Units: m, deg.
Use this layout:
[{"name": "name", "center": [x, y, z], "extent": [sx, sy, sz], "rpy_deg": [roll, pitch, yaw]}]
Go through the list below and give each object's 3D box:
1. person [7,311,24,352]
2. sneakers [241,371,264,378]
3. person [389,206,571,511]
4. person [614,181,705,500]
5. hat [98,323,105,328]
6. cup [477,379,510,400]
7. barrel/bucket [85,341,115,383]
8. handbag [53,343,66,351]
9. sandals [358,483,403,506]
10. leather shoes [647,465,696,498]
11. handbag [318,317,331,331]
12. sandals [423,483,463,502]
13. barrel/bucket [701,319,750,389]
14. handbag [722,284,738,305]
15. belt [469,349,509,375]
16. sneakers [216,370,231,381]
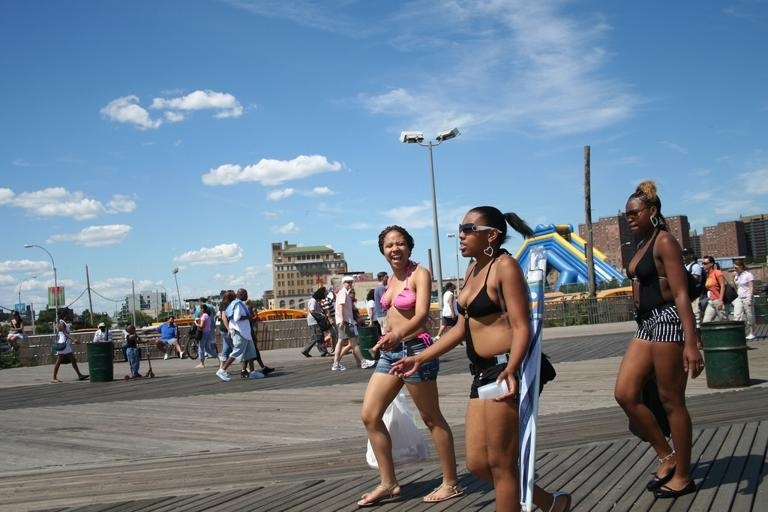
[{"name": "person", "center": [-14.794, 3.033, 21.413], "extent": [0.500, 1.575, 3.921], "rpy_deg": [-5, -3, -35]}, {"name": "sneakers", "center": [-3.606, 3.208, 14.457], "extent": [0.654, 0.274, 0.234], "rpy_deg": [-2, -4, 8]}, {"name": "person", "center": [0.798, 0.793, 3.989], "extent": [0.688, 2.042, 0.832], "rpy_deg": [-5, -3, -29]}, {"name": "person", "center": [2.346, 0.690, 4.673], "extent": [0.699, 2.910, 0.775], "rpy_deg": [-8, -3, 28]}, {"name": "hat", "center": [-9.526, 2.336, 18.042], "extent": [0.225, 0.095, 0.315], "rpy_deg": [1, -9, -23]}, {"name": "cup", "center": [0.737, 0.906, 3.611], "extent": [0.195, 0.128, 0.121], "rpy_deg": [-7, -3, 20]}, {"name": "barrel/bucket", "center": [-8.227, 3.068, 15.544], "extent": [0.605, 1.178, 0.551], "rpy_deg": [-6, -2, 0]}, {"name": "handbag", "center": [-9.923, 2.762, 16.346], "extent": [0.249, 0.245, 0.107], "rpy_deg": [-2, -13, 3]}, {"name": "sandals", "center": [-0.045, 2.220, 5.010], "extent": [0.382, 0.145, 0.166], "rpy_deg": [-9, -5, -21]}, {"name": "leather shoes", "center": [2.490, 1.958, 4.650], "extent": [0.319, 0.112, 0.230], "rpy_deg": [7, -13, -28]}, {"name": "handbag", "center": [-1.940, 2.167, 17.355], "extent": [0.546, 0.372, 0.271], "rpy_deg": [-8, -3, 36]}, {"name": "sandals", "center": [0.552, 2.187, 4.974], "extent": [0.294, 0.102, 0.159], "rpy_deg": [4, -12, -28]}, {"name": "barrel/bucket", "center": [5.655, 1.630, 8.893], "extent": [0.636, 1.252, 0.427], "rpy_deg": [-8, -3, 29]}, {"name": "handbag", "center": [8.783, 0.939, 13.635], "extent": [0.256, 0.564, 0.803], "rpy_deg": [-8, -3, 37]}, {"name": "belt", "center": [0.746, 0.763, 3.848], "extent": [0.238, 0.095, 0.175], "rpy_deg": [-7, -9, 26]}, {"name": "sneakers", "center": [-4.416, 3.280, 14.639], "extent": [0.193, 0.152, 0.424], "rpy_deg": [-36, -54, 11]}]
